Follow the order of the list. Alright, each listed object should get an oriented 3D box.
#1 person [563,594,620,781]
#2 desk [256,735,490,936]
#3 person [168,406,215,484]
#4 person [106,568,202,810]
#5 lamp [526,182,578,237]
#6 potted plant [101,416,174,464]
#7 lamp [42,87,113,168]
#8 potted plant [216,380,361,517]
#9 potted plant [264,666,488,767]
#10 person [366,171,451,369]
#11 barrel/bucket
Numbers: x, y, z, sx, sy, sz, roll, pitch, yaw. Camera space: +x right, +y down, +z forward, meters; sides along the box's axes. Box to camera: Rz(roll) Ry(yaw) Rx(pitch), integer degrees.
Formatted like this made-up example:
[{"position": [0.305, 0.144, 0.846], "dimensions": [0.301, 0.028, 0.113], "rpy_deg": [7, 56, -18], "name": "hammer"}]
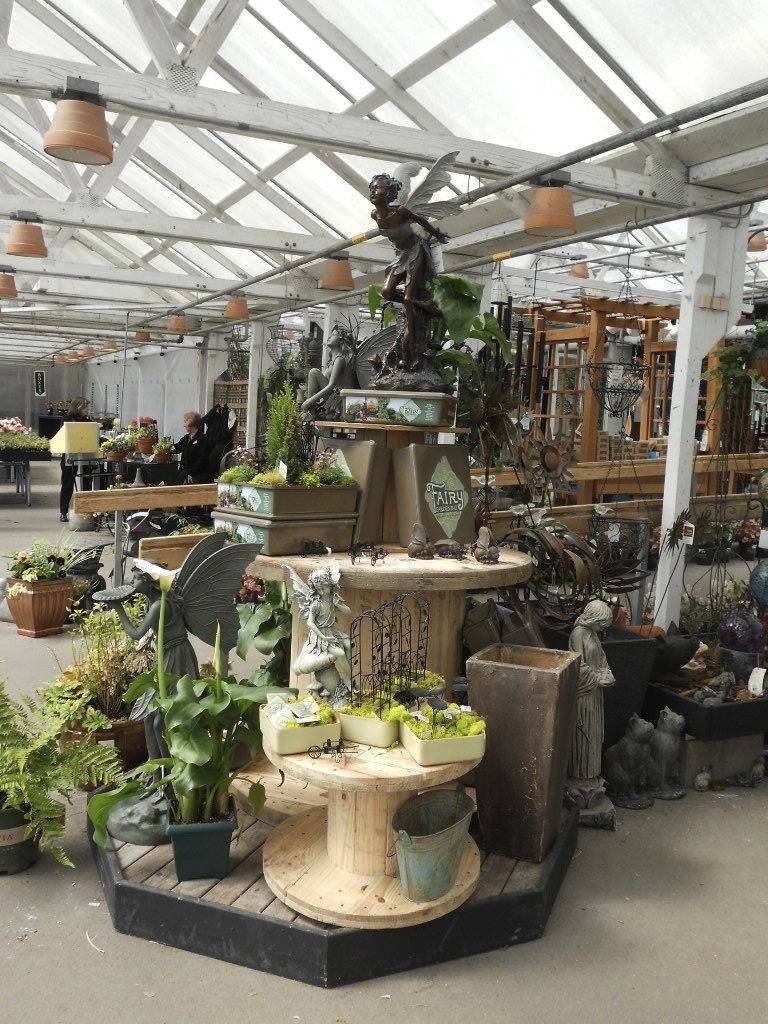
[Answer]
[{"position": [0.812, 0.708, 3.133], "dimensions": [0.169, 0.693, 0.239], "rpy_deg": [4, 5, 2], "name": "person"}, {"position": [-0.097, 0.811, 2.165], "dimensions": [0.530, 0.292, 0.514], "rpy_deg": [-2, 9, -22], "name": "desk"}, {"position": [-2.245, -0.771, 9.430], "dimensions": [0.384, 0.818, 0.812], "rpy_deg": [2, 5, -12], "name": "person"}, {"position": [-0.735, 0.498, 2.472], "dimensions": [0.295, 0.724, 0.511], "rpy_deg": [2, 6, -17], "name": "person"}, {"position": [0.814, -1.476, 3.947], "dimensions": [0.307, 0.266, 0.306], "rpy_deg": [3, 10, 6], "name": "lamp"}, {"position": [-3.201, -0.864, 10.144], "dimensions": [1.059, 0.501, 0.827], "rpy_deg": [-1, 9, -12], "name": "potted plant"}, {"position": [-1.337, -1.724, 3.436], "dimensions": [0.274, 0.348, 0.380], "rpy_deg": [1, 6, -23], "name": "lamp"}, {"position": [-0.333, -0.210, 2.820], "dimensions": [0.455, 0.573, 0.567], "rpy_deg": [-1, 4, -28], "name": "potted plant"}, {"position": [-0.034, 0.569, 2.119], "dimensions": [0.600, 0.174, 0.299], "rpy_deg": [4, 5, 5], "name": "potted plant"}, {"position": [0.084, -0.900, 2.846], "dimensions": [0.276, 0.796, 0.621], "rpy_deg": [4, 5, 3], "name": "person"}, {"position": [0.128, 0.907, 2.154], "dimensions": [0.213, 0.228, 0.345], "rpy_deg": [4, 5, 6], "name": "barrel/bucket"}]
